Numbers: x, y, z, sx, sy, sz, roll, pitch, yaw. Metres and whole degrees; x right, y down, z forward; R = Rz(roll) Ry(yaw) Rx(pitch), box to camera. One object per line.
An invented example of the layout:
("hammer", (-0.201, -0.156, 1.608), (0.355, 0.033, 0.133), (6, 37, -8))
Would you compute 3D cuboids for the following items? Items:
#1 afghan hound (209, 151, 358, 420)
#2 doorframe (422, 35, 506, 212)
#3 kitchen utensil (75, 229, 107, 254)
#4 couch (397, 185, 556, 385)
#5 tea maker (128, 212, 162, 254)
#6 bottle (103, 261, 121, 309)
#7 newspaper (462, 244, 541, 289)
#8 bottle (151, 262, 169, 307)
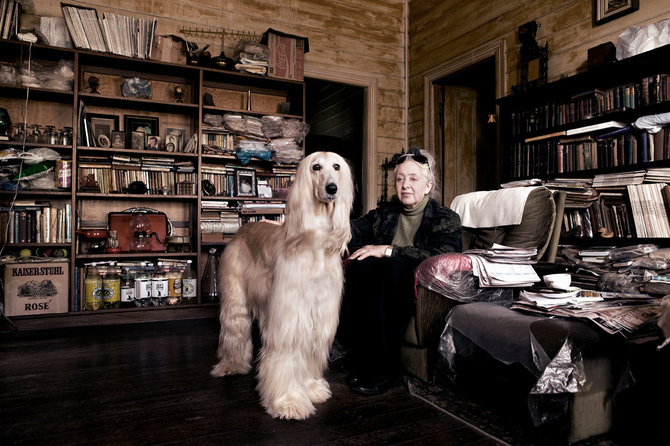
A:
("afghan hound", (-0.369, 0.332, 3.235), (0.852, 1.583, 0.570), (10, 14, 43))
("doorframe", (1.645, -1.532, 6.234), (1.226, 1.047, 0.125), (-28, 30, -20))
("kitchen utensil", (-2.387, 0.194, 4.834), (0.232, 0.202, 0.288), (-1, -8, 13))
("couch", (0.974, 0.420, 4.000), (1.256, 1.593, 1.439), (5, -8, -14))
("tea maker", (-1.927, 0.109, 4.957), (0.379, 0.443, 0.266), (3, -11, -7))
("bottle", (-2.127, 0.597, 4.708), (0.168, 0.412, 0.135), (-5, 12, -28))
("newspaper", (1.084, 0.285, 3.202), (0.349, 0.126, 0.345), (0, 31, -4))
("bottle", (-1.728, 0.616, 4.869), (0.171, 0.370, 0.135), (-3, 11, -20))
